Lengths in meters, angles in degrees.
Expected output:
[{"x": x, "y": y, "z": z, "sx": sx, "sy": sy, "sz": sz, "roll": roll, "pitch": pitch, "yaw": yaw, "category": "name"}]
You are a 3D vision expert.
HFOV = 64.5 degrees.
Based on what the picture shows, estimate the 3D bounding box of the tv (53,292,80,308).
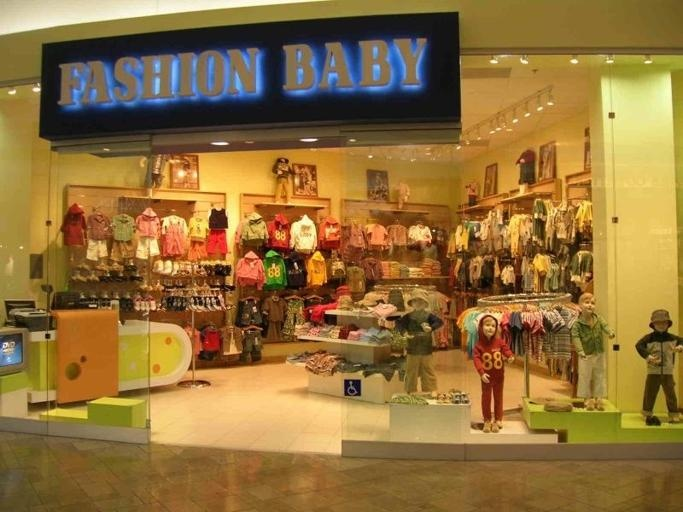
[{"x": -2.963, "y": 0.489, "z": 5.994, "sx": 0.317, "sy": 0.170, "sz": 0.227, "roll": -2, "pitch": -6, "yaw": 43, "category": "tv"}]

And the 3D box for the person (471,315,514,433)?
[{"x": 1.485, "y": 1.148, "z": 5.339, "sx": 0.357, "sy": 1.125, "sz": 0.187, "roll": 0, "pitch": 0, "yaw": -10, "category": "person"}]

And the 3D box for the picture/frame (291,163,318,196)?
[{"x": -0.701, "y": -1.420, "z": 10.120, "sx": 0.585, "sy": 0.689, "sz": 0.056, "roll": 4, "pitch": -10, "yaw": -28, "category": "picture/frame"}]

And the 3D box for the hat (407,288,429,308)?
[{"x": 0.787, "y": 0.442, "z": 5.588, "sx": 0.191, "sy": 0.104, "sz": 0.174, "roll": 2, "pitch": -1, "yaw": -22, "category": "hat"}]

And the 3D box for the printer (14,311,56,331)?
[{"x": -3.361, "y": 0.709, "z": 6.005, "sx": 0.345, "sy": 0.196, "sz": 0.247, "roll": -1, "pitch": -3, "yaw": 39, "category": "printer"}]

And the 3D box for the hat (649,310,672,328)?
[{"x": 3.203, "y": 0.636, "z": 5.475, "sx": 0.157, "sy": 0.099, "sz": 0.190, "roll": -8, "pitch": -24, "yaw": 36, "category": "hat"}]

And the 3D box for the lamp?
[{"x": 1.551, "y": -1.354, "z": 5.585, "sx": 1.316, "sy": 0.268, "sz": 0.118, "roll": -31, "pitch": 4, "yaw": 7, "category": "lamp"}]

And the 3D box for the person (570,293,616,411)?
[{"x": 2.493, "y": 0.926, "z": 5.432, "sx": 0.410, "sy": 1.082, "sz": 0.197, "roll": 0, "pitch": 0, "yaw": 0, "category": "person"}]

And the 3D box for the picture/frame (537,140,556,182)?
[{"x": 2.120, "y": -0.980, "z": 5.594, "sx": 0.195, "sy": 0.402, "sz": 0.022, "roll": 0, "pitch": 0, "yaw": 0, "category": "picture/frame"}]

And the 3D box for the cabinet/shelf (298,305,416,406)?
[{"x": 0.153, "y": 1.207, "z": 6.982, "sx": 1.000, "sy": 1.044, "sz": 1.825, "roll": 6, "pitch": -11, "yaw": 6, "category": "cabinet/shelf"}]

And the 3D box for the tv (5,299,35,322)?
[{"x": -3.615, "y": 0.626, "z": 6.157, "sx": 0.285, "sy": 0.270, "sz": 0.157, "roll": -1, "pitch": -3, "yaw": -2, "category": "tv"}]

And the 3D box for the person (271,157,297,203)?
[{"x": -1.070, "y": -1.409, "z": 9.986, "sx": 0.389, "sy": 0.850, "sz": 0.315, "roll": 0, "pitch": 0, "yaw": -5, "category": "person"}]

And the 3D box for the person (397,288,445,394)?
[{"x": 0.797, "y": 0.877, "z": 5.544, "sx": 0.460, "sy": 1.041, "sz": 0.137, "roll": 0, "pitch": 0, "yaw": 7, "category": "person"}]
